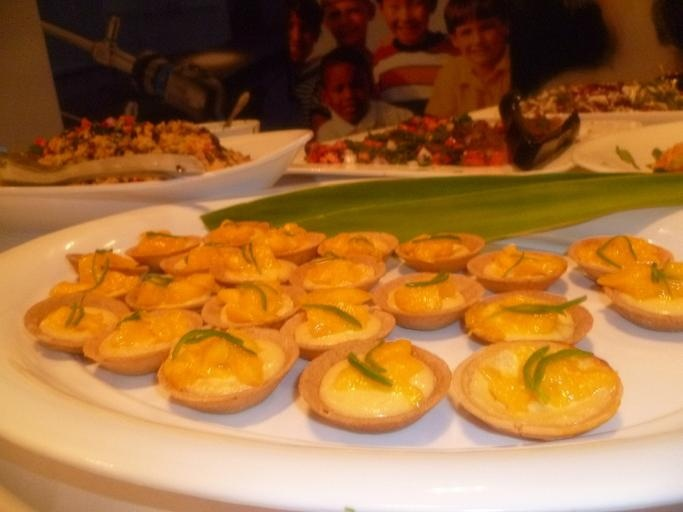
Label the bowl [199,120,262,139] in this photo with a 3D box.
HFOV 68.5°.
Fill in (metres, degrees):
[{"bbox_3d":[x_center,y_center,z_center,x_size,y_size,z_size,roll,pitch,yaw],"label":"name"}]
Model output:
[{"bbox_3d":[-0.921,-1.108,4.412,0.401,0.165,0.519,0,26,4],"label":"bowl"}]
